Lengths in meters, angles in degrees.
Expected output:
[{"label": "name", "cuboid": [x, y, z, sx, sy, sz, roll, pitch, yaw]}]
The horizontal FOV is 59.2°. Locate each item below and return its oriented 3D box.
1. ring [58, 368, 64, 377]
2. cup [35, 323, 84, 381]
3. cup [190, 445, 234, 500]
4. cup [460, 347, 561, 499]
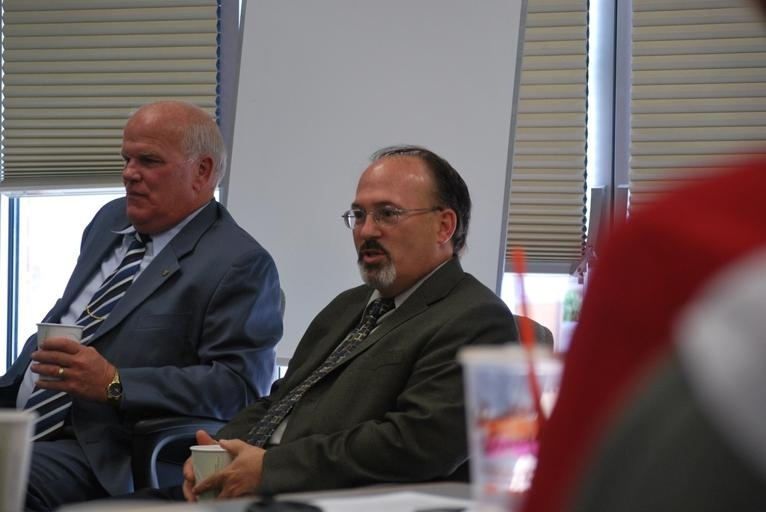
[{"label": "ring", "cuboid": [-0.908, 0.327, 1.904, 0.018, 0.019, 0.019, 12, 16, -3]}, {"label": "cup", "cuboid": [-0.949, 0.284, 1.940, 0.143, 0.116, 0.156, 1, -8, 0]}, {"label": "cup", "cuboid": [-0.388, 0.473, 1.501, 0.109, 0.110, 0.109, 2, -4, 0]}, {"label": "cup", "cuboid": [0.128, 0.192, 0.746, 0.088, 0.179, 0.202, 1, -9, 0]}]
